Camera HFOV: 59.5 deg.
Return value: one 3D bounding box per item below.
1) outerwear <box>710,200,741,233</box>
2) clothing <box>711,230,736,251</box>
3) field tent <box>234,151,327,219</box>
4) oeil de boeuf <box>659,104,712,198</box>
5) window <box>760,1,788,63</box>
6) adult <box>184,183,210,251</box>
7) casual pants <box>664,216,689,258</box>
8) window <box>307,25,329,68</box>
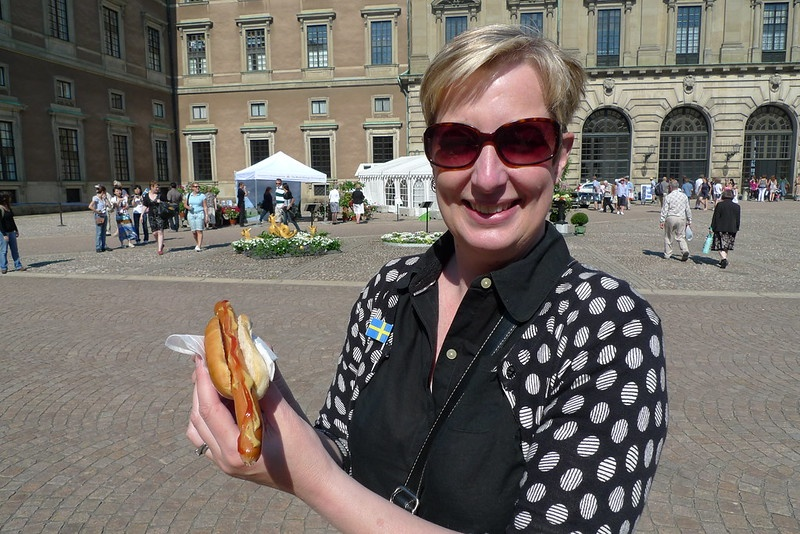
[{"bbox_3d":[7.320,-1.170,15.760,0.568,0.762,0.390,2,9,20],"label":"outerwear"},{"bbox_3d":[7.351,-0.623,15.861,0.415,0.442,0.405,1,-1,-32],"label":"clothing"},{"bbox_3d":[-4.824,-4.063,28.789,3.059,1.572,3.237,1,10,-15],"label":"field tent"},{"bbox_3d":[15.812,-6.719,39.244,2.550,4.751,0.440,2,-22,23],"label":"oeil de boeuf"},{"bbox_3d":[20.447,-12.935,38.195,1.235,3.043,0.541,2,8,20],"label":"window"},{"bbox_3d":[-5.579,-1.422,19.146,0.633,1.896,0.622,1,6,22],"label":"adult"},{"bbox_3d":[6.609,-0.745,16.857,0.605,1.071,0.619,0,5,27],"label":"casual pants"},{"bbox_3d":[-4.995,-13.533,42.341,1.244,2.628,0.156,-3,-4,7],"label":"window"}]
